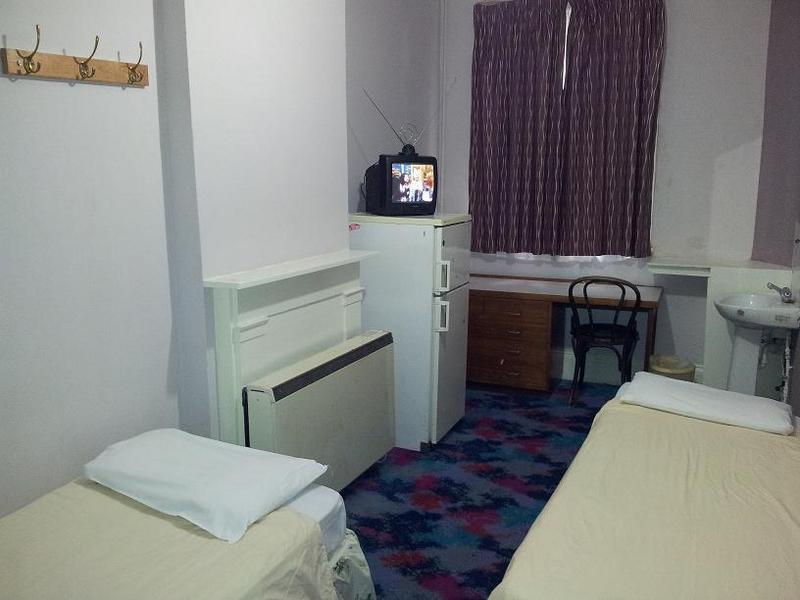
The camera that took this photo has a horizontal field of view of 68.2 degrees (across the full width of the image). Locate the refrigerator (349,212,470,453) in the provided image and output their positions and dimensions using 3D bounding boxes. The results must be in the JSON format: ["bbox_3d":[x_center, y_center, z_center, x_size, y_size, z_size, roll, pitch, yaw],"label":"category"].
[{"bbox_3d":[0.079,0.188,3.792,0.772,1.455,0.472,-1,13,-2],"label":"refrigerator"}]

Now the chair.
[{"bbox_3d":[1.516,0.303,4.372,0.557,1.199,0.706,2,39,16],"label":"chair"}]

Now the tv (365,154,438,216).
[{"bbox_3d":[0.046,-0.754,3.837,0.364,0.469,0.523,16,22,42],"label":"tv"}]

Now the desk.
[{"bbox_3d":[1.247,0.283,4.641,1.306,0.792,0.584,4,14,22],"label":"desk"}]

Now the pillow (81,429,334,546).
[{"bbox_3d":[-0.742,0.644,2.172,0.599,0.098,0.400,8,13,24],"label":"pillow"}]
